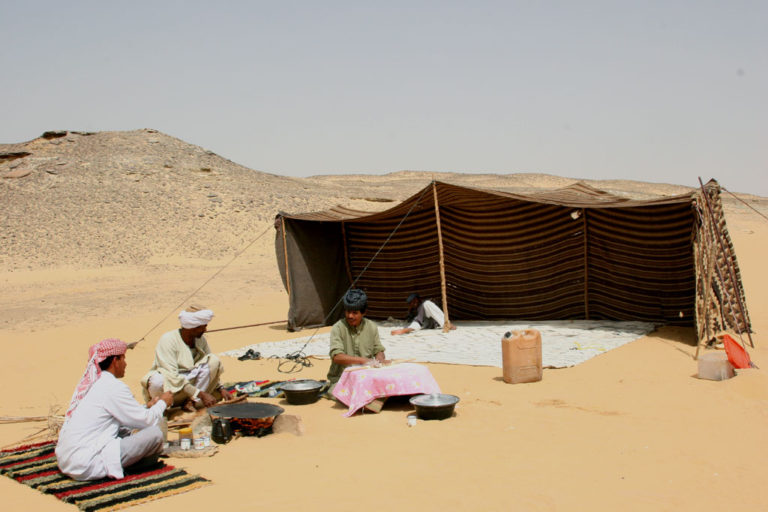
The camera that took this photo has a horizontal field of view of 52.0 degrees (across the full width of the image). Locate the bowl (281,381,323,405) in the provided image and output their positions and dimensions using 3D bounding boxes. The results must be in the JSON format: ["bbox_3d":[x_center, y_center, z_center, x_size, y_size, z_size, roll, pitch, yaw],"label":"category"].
[{"bbox_3d":[-1.068,1.808,10.592,0.578,0.256,0.336,-5,8,-6],"label":"bowl"}]

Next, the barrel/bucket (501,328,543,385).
[{"bbox_3d":[1.895,1.365,10.885,0.582,0.699,0.367,-6,10,4],"label":"barrel/bucket"}]

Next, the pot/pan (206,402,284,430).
[{"bbox_3d":[-1.632,1.911,9.401,0.843,0.356,0.715,-5,7,-12],"label":"pot/pan"}]

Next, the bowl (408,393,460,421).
[{"bbox_3d":[0.641,1.850,9.796,0.599,0.273,0.331,-4,8,-1],"label":"bowl"}]
